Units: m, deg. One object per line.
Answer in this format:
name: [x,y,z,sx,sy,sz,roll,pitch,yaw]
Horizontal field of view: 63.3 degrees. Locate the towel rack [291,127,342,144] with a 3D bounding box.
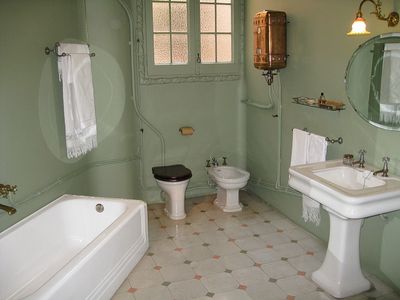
towel rack: [1.364,-0.184,3.505,0.367,0.150,0.638,-4,12,-21]

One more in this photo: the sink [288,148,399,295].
sink: [1.330,0.662,3.043,0.670,1.245,0.816,-11,20,-26]

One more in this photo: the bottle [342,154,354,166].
bottle: [1.423,0.097,3.141,0.105,0.103,0.091,-8,9,-40]

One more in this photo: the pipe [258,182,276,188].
pipe: [0.945,0.501,4.584,0.043,0.047,0.307,-14,14,-31]

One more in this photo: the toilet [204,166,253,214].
toilet: [0.394,0.527,4.740,0.503,0.483,0.727,-7,18,-18]

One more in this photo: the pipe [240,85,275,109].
pipe: [0.811,-0.759,4.511,0.082,0.343,0.693,-8,19,-19]

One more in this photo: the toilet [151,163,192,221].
toilet: [-0.375,0.573,4.422,0.477,0.631,0.502,-6,18,-13]

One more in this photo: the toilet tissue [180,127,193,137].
toilet tissue: [-0.195,-0.250,4.689,0.164,0.174,0.183,-3,18,-3]

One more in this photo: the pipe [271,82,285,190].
pipe: [1.031,-0.147,4.299,0.181,1.481,0.048,11,19,41]
